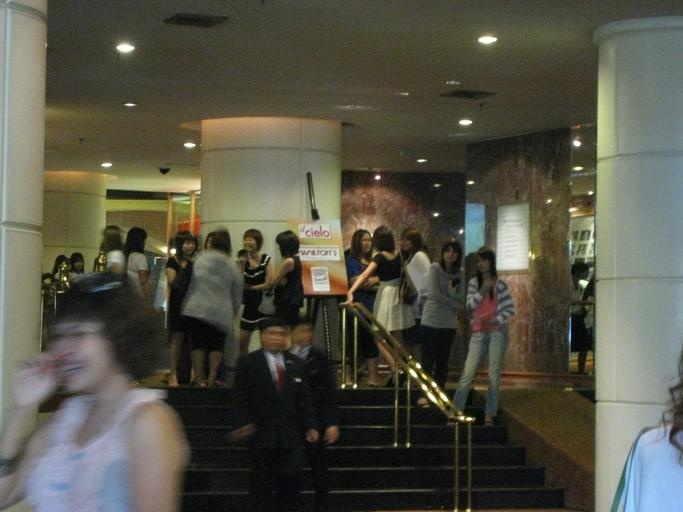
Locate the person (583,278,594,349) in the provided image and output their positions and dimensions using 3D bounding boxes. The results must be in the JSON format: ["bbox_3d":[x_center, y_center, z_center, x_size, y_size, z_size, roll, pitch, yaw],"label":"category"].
[{"bbox_3d":[3.170,0.731,7.815,0.099,0.946,0.281,0,0,2],"label":"person"}]

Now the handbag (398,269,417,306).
[{"bbox_3d":[0.809,0.403,7.637,0.210,0.450,0.448,-7,-2,-13],"label":"handbag"}]

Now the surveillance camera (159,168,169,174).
[{"bbox_3d":[-3.884,-1.892,13.398,0.139,0.034,0.133,2,-23,0],"label":"surveillance camera"}]
